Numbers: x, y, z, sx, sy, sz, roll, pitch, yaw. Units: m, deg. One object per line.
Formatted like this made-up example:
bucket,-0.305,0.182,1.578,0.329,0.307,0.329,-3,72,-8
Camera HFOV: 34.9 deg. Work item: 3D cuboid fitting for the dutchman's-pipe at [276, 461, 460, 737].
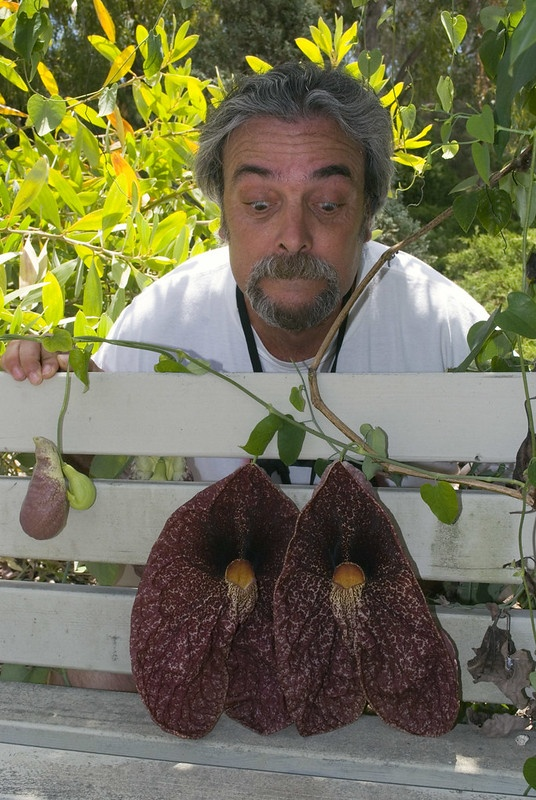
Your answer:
dutchman's-pipe,0.073,0.194,0.801,0.169,0.232,0.063,-13,-10,-19

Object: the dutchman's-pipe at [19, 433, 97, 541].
dutchman's-pipe,-0.213,0.095,0.882,0.082,0.108,0.056,14,19,14

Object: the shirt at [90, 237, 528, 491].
shirt,0.034,-0.045,1.090,0.474,0.309,0.147,0,-7,1

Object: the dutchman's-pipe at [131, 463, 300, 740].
dutchman's-pipe,-0.071,0.185,0.871,0.223,0.248,0.069,11,-2,-22

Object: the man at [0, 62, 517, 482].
man,0.012,-0.183,1.295,0.574,0.615,0.897,6,9,18

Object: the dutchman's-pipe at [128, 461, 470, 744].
dutchman's-pipe,0.030,0.175,0.861,0.330,0.273,0.079,3,0,10
